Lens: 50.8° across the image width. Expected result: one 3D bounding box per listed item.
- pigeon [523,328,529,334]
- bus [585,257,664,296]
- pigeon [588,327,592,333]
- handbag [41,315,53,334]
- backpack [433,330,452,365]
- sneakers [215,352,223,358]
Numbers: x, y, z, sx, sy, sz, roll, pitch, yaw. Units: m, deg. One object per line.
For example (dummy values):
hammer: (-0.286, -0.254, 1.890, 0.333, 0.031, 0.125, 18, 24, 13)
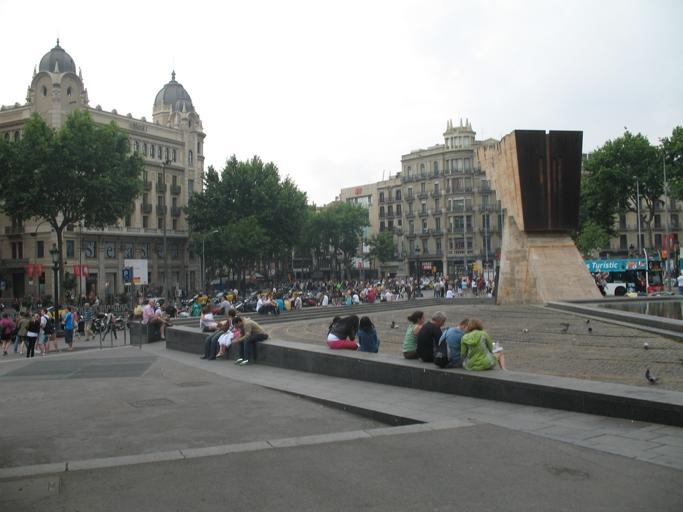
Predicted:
pigeon: (5.941, 2.445, 23.356, 0.209, 0.149, 0.293, 2, -1, 24)
bus: (20.235, 1.674, 50.008, 1.653, 2.628, 6.315, 1, -3, -1)
pigeon: (7.850, 2.375, 22.831, 0.129, 0.191, 0.254, -5, -7, 11)
handbag: (-10.295, 2.437, 25.139, 0.174, 0.509, 0.573, -4, -5, 13)
backpack: (2.023, 1.908, 14.603, 0.305, 0.717, 0.238, -1, 3, 7)
sneakers: (-3.558, 2.902, 21.031, 0.279, 0.179, 0.055, 0, 3, 37)
